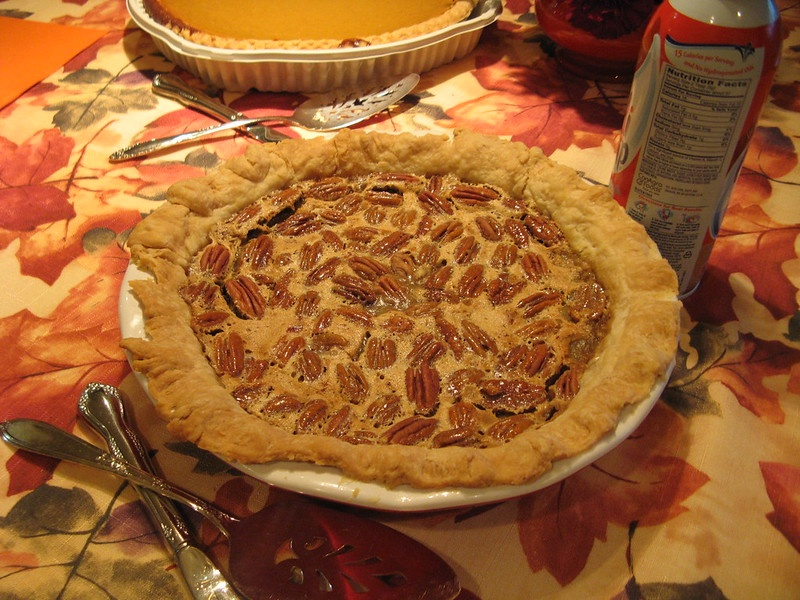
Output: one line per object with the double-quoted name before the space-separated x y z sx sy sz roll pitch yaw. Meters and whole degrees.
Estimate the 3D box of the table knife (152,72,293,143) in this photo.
"table knife" -0.673 -0.720 2.508 0.723 0.033 0.096 28 64 12
